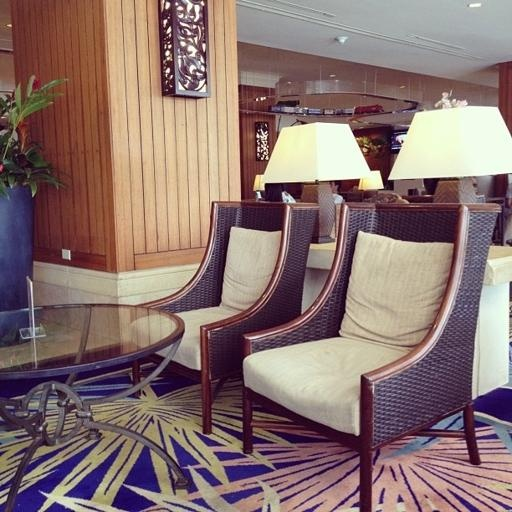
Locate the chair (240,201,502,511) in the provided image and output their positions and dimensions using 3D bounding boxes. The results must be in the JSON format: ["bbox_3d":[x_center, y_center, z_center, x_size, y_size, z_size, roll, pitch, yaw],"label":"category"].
[{"bbox_3d":[0.418,0.302,1.852,0.839,1.018,0.639,-9,10,-40],"label":"chair"}]
